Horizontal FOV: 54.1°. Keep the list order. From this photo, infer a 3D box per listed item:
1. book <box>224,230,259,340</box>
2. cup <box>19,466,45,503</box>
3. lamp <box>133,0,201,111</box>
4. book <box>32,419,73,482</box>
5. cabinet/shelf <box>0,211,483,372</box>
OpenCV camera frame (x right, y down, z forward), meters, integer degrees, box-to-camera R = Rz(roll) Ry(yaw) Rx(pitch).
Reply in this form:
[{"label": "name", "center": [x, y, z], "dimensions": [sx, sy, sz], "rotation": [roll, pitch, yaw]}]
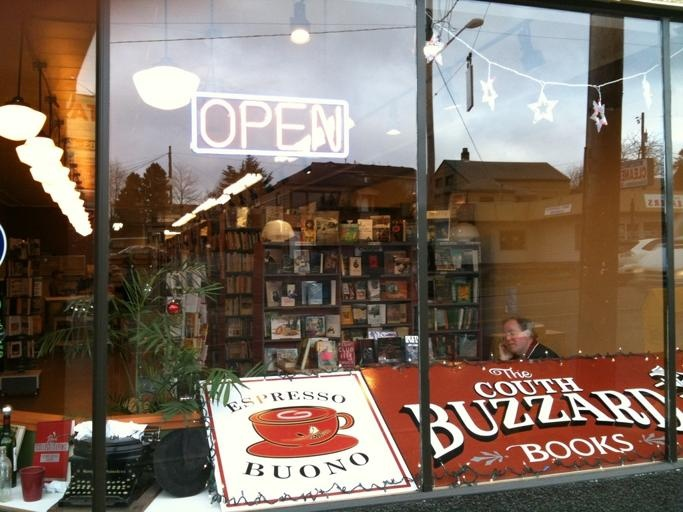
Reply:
[{"label": "book", "center": [-0.840, 0.222, 5.469], "dimensions": [0.215, 0.916, 0.424], "rotation": [-11, -8, 40]}, {"label": "cup", "center": [-2.046, 1.497, 4.450], "dimensions": [0.181, 0.206, 0.183], "rotation": [-1, -2, 0]}, {"label": "lamp", "center": [-1.364, -1.518, 5.132], "dimensions": [0.463, 0.859, 0.211], "rotation": [-6, -6, 3]}, {"label": "book", "center": [-1.990, 1.316, 4.620], "dimensions": [0.275, 0.375, 0.369], "rotation": [0, 1, -5]}, {"label": "cabinet/shelf", "center": [0.024, 0.264, 5.778], "dimensions": [2.969, 1.373, 1.004], "rotation": [-4, -6, -19]}]
